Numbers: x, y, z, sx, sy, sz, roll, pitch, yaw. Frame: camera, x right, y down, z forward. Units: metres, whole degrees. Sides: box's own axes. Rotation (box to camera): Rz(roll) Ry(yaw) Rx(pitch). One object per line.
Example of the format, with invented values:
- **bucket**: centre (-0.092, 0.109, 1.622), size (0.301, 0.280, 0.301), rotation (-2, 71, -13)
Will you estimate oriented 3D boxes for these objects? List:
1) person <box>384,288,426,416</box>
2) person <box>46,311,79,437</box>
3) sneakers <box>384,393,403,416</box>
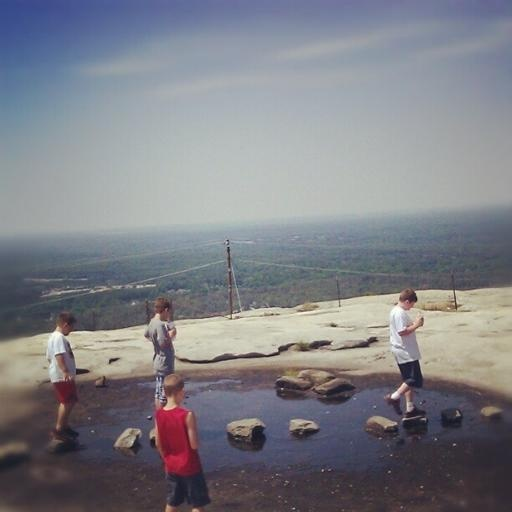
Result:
- **person**: centre (2.252, 1.434, 8.290), size (0.598, 1.958, 1.604), rotation (-2, 4, 16)
- **person**: centre (-2.674, 1.688, 7.516), size (0.347, 1.838, 0.404), rotation (-6, 5, -37)
- **sneakers**: centre (2.166, 2.339, 8.573), size (0.139, 0.305, 0.103), rotation (-31, -7, 11)
